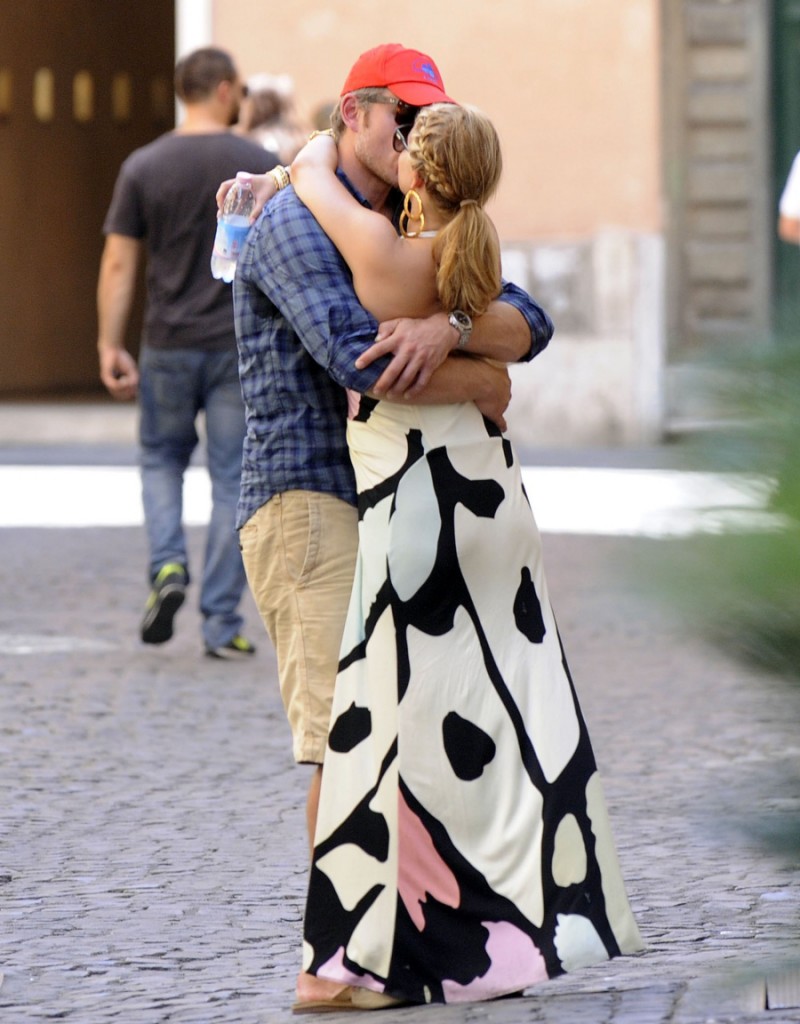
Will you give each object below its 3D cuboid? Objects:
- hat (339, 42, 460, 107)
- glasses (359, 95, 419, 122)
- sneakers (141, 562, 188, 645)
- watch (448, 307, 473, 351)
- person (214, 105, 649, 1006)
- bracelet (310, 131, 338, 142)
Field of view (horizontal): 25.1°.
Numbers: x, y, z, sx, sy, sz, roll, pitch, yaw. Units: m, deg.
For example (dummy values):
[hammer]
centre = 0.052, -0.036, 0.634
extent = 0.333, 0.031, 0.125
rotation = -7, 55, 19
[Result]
[hat]
centre = -0.003, -0.687, 2.895
extent = 0.166, 0.085, 0.114
rotation = 8, 10, 37
[glasses]
centre = -0.012, -0.647, 2.851
extent = 0.056, 0.018, 0.057
rotation = 18, 7, -25
[sneakers]
centre = -0.781, 0.313, 6.047
extent = 0.114, 0.333, 0.142
rotation = 2, 38, -26
[watch]
centre = 0.096, -0.282, 2.779
extent = 0.037, 0.053, 0.057
rotation = 8, 20, 7
[person]
centre = 0.097, 0.056, 2.740
extent = 0.515, 1.335, 0.340
rotation = -1, 5, -4
[bracelet]
centre = -0.122, -0.615, 2.958
extent = 0.039, 0.020, 0.051
rotation = -2, 6, -1
